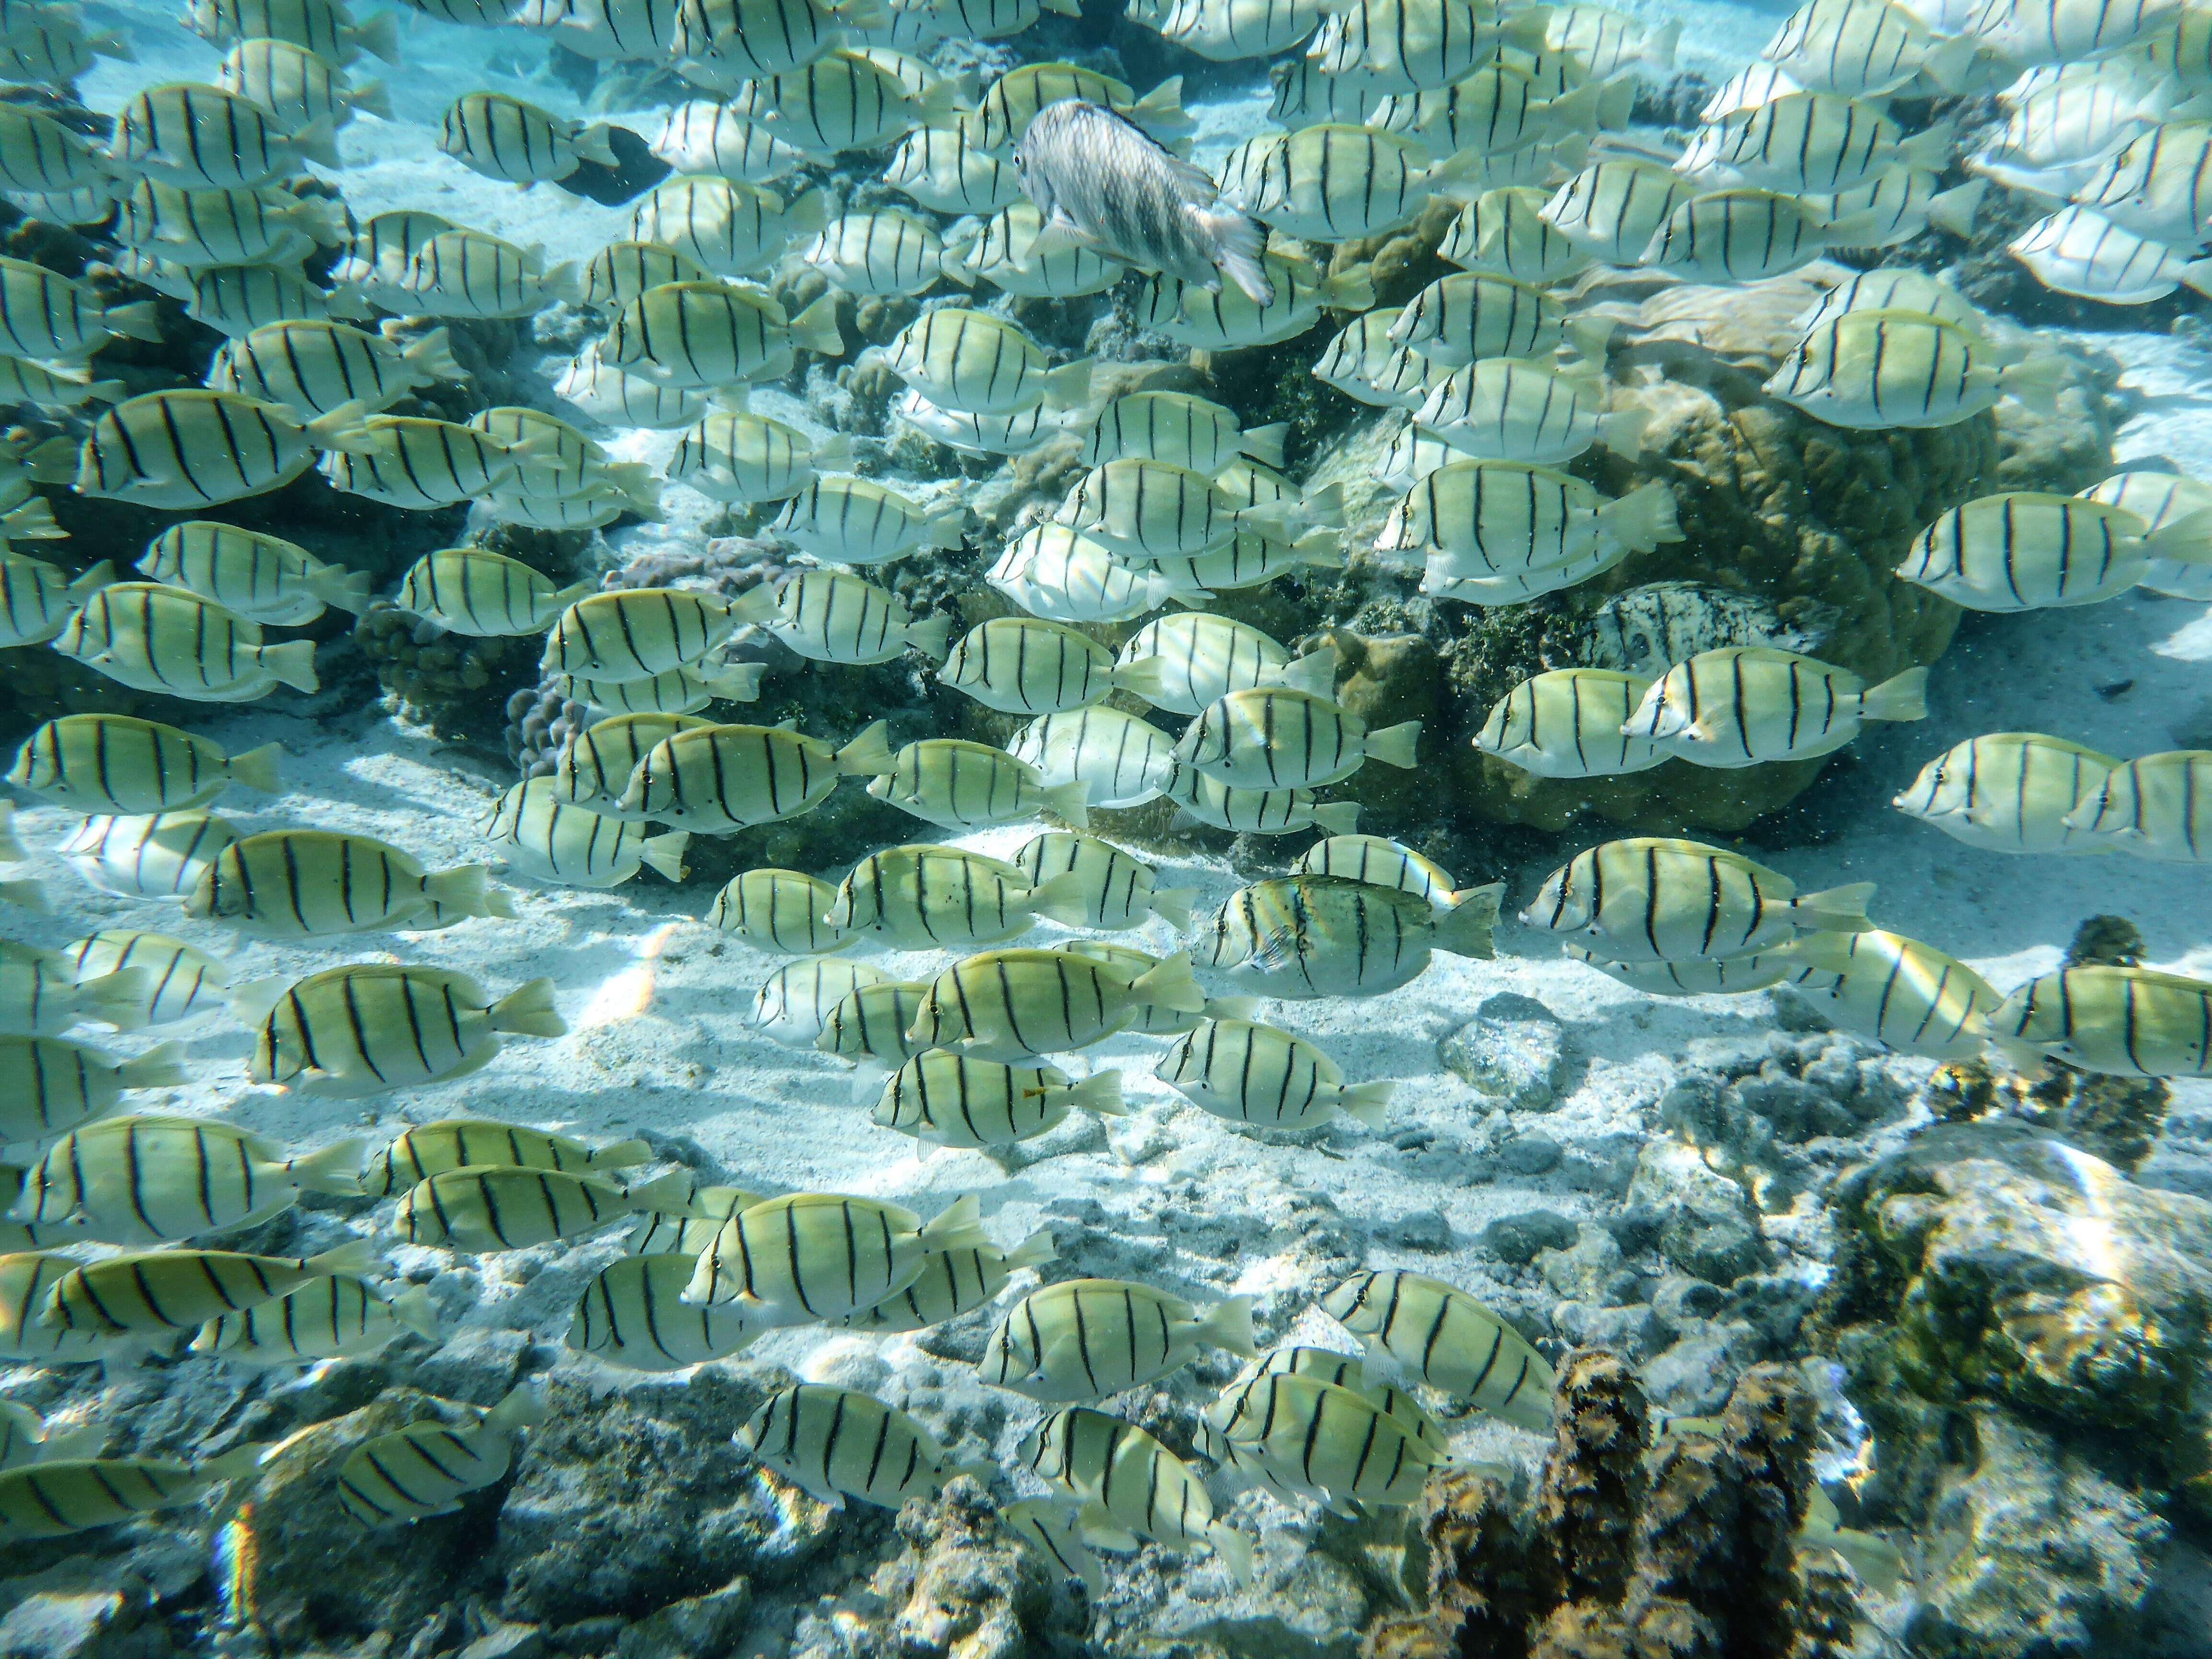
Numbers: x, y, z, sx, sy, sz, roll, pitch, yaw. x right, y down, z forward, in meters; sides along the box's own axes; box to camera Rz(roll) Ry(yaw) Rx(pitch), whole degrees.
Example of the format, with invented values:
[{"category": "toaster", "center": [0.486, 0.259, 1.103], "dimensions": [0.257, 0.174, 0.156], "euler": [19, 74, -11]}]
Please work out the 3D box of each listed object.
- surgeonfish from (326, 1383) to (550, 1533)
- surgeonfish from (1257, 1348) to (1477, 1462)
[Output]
[{"category": "surgeonfish", "center": [-2.902, 2.781, 8.792], "dimensions": [0.927, 0.303, 0.409], "euler": [-19, 77, -5]}, {"category": "surgeonfish", "center": [1.073, 2.415, 8.445], "dimensions": [0.869, 0.205, 0.340], "euler": [27, 82, 32]}]
